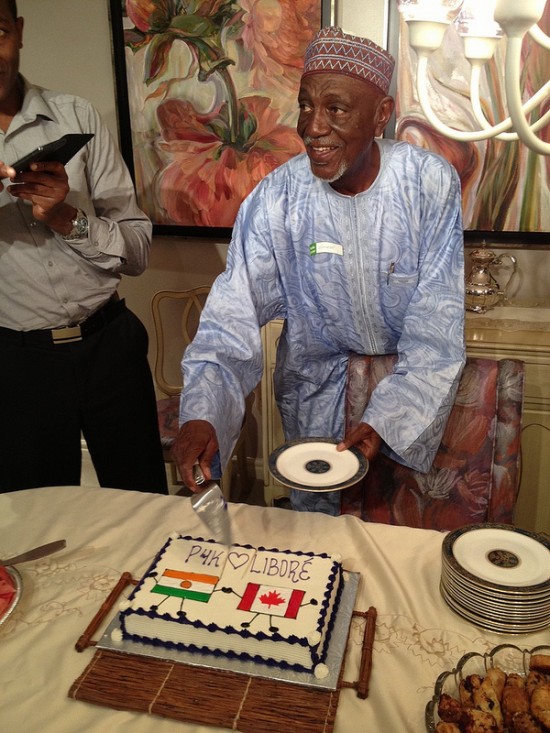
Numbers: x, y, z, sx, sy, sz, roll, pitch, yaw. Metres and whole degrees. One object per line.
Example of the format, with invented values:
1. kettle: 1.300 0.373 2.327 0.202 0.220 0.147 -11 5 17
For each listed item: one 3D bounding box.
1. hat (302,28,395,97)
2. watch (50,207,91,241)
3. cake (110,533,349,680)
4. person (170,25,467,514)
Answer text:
1. hat: 0.171 -0.700 1.259 0.211 0.145 0.138 -2 21 4
2. watch: -0.580 -0.410 1.585 0.098 0.099 0.071 20 19 3
3. cake: -0.067 0.379 0.920 0.260 0.074 0.163 4 21 10
4. person: 0.066 -0.223 1.449 0.840 1.152 0.517 -14 23 -24
